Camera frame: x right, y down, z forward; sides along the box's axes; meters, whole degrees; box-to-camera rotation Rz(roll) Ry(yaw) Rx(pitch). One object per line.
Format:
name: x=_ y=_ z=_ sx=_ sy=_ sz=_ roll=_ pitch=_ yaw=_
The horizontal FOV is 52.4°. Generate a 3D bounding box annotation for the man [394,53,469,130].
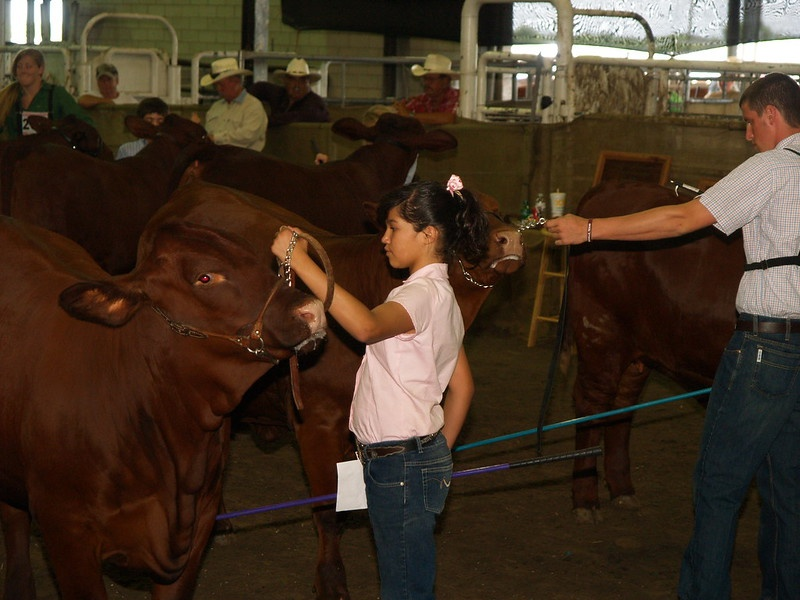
man: x=0.386 y=-2.754 z=10.624 sx=0.809 sy=0.856 sz=1.094 roll=13 pitch=35 yaw=28

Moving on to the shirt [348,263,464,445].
shirt: x=0.022 y=0.215 z=3.207 sx=0.433 sy=0.712 sz=0.275 roll=0 pitch=10 yaw=-3

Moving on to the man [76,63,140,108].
man: x=-4.296 y=-3.195 z=11.967 sx=0.883 sy=0.499 sz=0.504 roll=-10 pitch=16 yaw=-19

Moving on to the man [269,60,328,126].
man: x=-1.448 y=-2.806 z=11.299 sx=0.944 sy=0.749 sz=1.608 roll=0 pitch=2 yaw=1
